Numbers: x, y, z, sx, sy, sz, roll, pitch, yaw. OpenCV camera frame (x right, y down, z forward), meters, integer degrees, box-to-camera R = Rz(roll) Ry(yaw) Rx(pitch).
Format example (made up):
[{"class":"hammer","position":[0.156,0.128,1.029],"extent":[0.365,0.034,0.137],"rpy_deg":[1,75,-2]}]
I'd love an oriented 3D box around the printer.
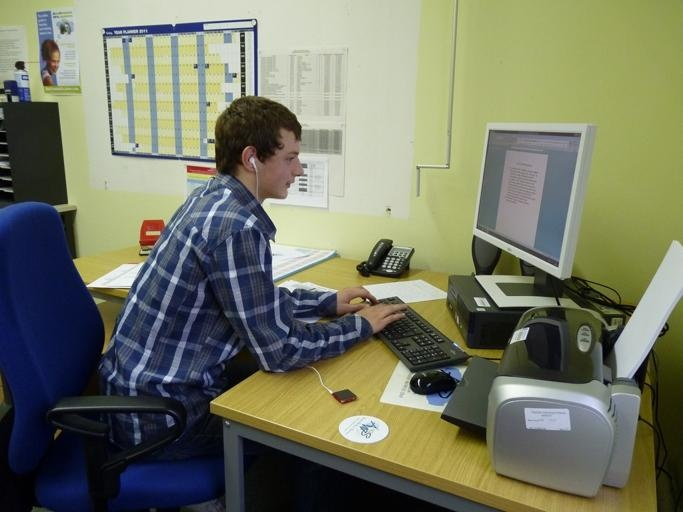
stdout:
[{"class":"printer","position":[0.554,0.345,1.289],"extent":[0.314,0.319,0.396],"rpy_deg":[8,18,23]}]

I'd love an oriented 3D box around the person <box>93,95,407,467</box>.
[{"class":"person","position":[-0.309,0.267,1.785],"extent":[0.949,1.489,0.606],"rpy_deg":[5,7,-19]}]

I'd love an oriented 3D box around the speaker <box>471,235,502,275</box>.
[{"class":"speaker","position":[0.591,-0.004,2.115],"extent":[0.117,0.210,0.053],"rpy_deg":[9,23,15]}]

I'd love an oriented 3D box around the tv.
[{"class":"tv","position":[0.641,-0.146,1.781],"extent":[0.310,0.603,0.613],"rpy_deg":[-3,15,-9]}]

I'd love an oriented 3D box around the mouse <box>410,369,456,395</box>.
[{"class":"mouse","position":[0.262,0.341,1.439],"extent":[0.108,0.037,0.063],"rpy_deg":[-7,17,-15]}]
